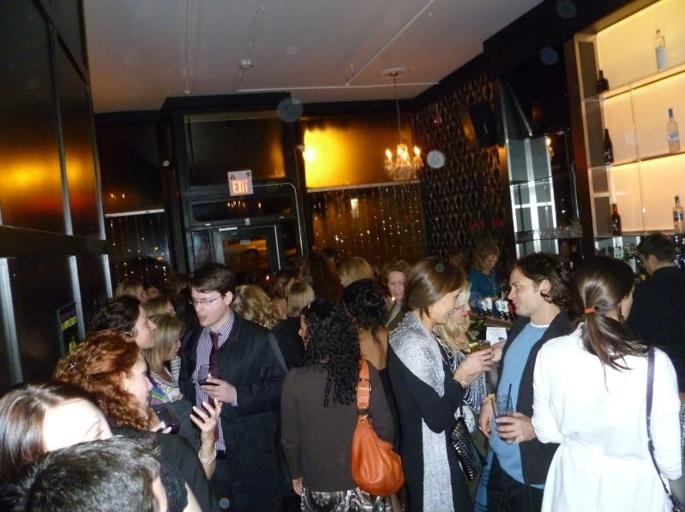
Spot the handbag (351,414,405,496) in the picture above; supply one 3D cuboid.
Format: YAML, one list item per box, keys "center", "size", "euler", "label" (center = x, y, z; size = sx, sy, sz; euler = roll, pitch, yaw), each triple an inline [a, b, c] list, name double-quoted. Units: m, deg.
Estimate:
- center: [0.159, 1.057, 2.751]
  size: [0.214, 0.455, 0.415]
  euler: [-9, -14, 9]
  label: "handbag"

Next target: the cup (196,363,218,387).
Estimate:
- center: [-0.709, 0.632, 2.676]
  size: [0.099, 0.117, 0.101]
  euler: [2, -13, 1]
  label: "cup"

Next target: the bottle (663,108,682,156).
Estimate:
- center: [2.830, -1.081, 4.334]
  size: [0.086, 0.401, 0.138]
  euler: [-7, 2, -31]
  label: "bottle"

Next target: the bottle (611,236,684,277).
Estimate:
- center: [2.747, 0.138, 4.543]
  size: [0.317, 0.449, 0.626]
  euler: [3, -6, -5]
  label: "bottle"

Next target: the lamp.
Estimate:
- center: [0.913, -2.039, 7.990]
  size: [0.509, 1.715, 0.519]
  euler: [0, 16, 31]
  label: "lamp"

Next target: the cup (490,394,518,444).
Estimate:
- center: [0.786, 0.803, 2.504]
  size: [0.113, 0.218, 0.120]
  euler: [-15, 17, 5]
  label: "cup"
